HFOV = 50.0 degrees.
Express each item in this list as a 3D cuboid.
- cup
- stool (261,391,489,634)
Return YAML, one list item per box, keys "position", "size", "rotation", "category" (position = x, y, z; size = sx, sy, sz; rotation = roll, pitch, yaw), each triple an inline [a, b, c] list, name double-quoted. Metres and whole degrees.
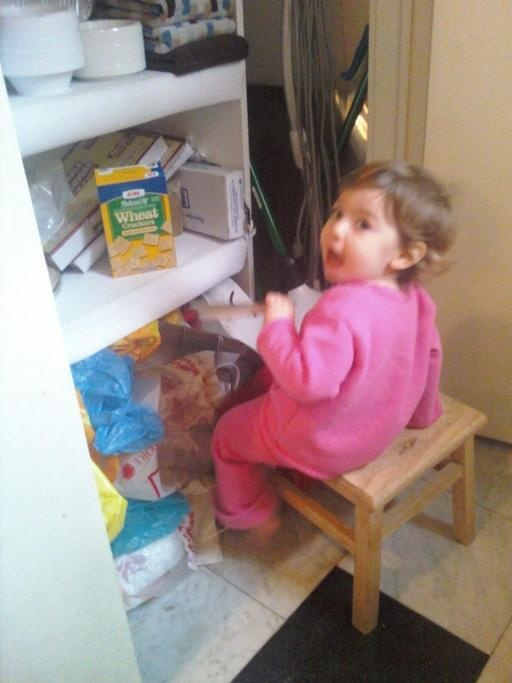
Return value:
- position: [-0.197, -0.405, 0.745]
  size: [0.093, 0.070, 0.096]
  rotation: [-3, 32, 2]
  category: "cup"
- position: [0.215, 0.258, 1.052]
  size: [0.392, 0.298, 0.388]
  rotation: [-12, 27, -14]
  category: "stool"
